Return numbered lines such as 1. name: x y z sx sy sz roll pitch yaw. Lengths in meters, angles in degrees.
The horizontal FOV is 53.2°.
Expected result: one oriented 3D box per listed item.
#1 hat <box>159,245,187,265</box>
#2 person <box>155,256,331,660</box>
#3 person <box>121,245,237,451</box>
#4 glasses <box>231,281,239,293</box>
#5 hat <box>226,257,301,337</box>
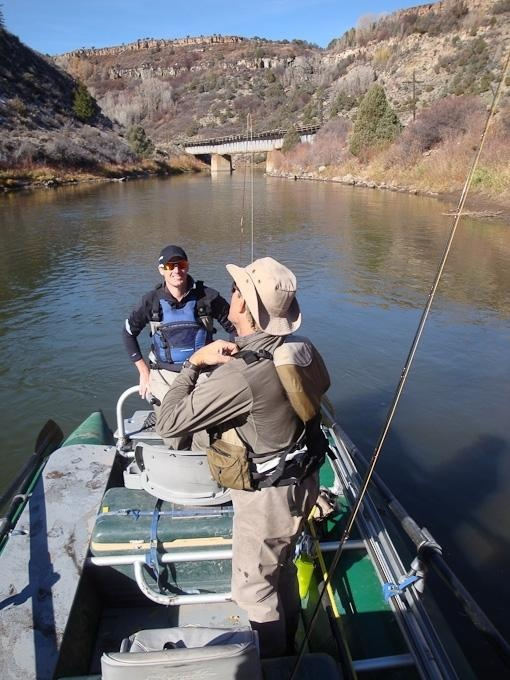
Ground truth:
1. hat: -0.609 -0.621 3.760 0.130 0.095 0.183 -1 -10 -9
2. person: -0.097 0.615 2.290 0.743 1.804 0.674 -9 13 -36
3. person: -0.575 0.174 4.045 0.844 1.765 0.591 -10 26 -18
4. glasses: -0.094 -0.222 2.193 0.025 0.066 0.065 1 12 3
5. hat: 0.011 -0.167 2.147 0.273 0.148 0.351 -2 63 -40
